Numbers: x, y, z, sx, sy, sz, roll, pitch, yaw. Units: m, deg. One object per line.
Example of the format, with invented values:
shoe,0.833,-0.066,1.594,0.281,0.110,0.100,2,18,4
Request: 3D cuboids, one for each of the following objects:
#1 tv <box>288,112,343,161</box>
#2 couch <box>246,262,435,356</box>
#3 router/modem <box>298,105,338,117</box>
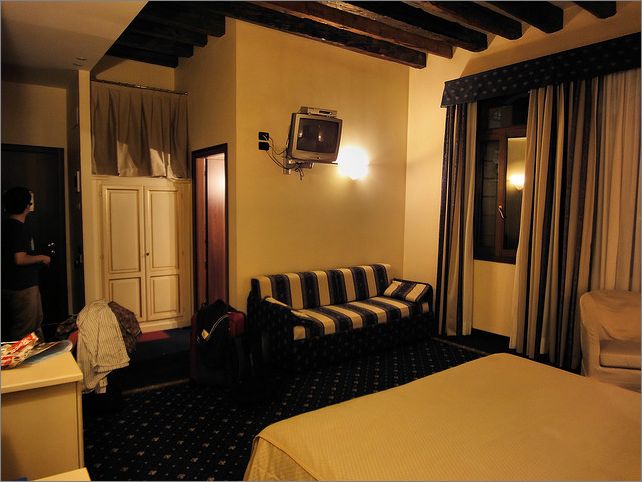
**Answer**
tv,-0.071,-1.217,5.545,0.537,0.522,0.347,-1,26,-20
couch,0.243,0.759,5.614,2.104,0.779,0.857,-8,15,-30
router/modem,-0.044,-1.447,5.393,0.424,0.096,0.166,-5,15,-20
